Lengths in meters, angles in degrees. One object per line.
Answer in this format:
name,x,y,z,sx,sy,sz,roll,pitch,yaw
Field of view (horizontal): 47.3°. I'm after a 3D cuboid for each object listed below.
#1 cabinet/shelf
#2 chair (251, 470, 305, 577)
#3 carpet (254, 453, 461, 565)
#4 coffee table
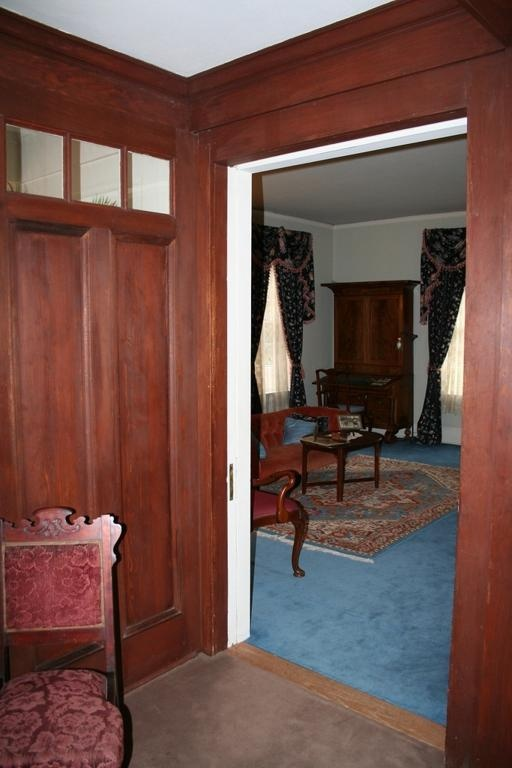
cabinet/shelf,1.782,-0.394,9.138,1.338,2.397,0.781,3,5,23
chair,0.164,0.953,4.124,0.398,0.801,0.632,2,4,0
carpet,1.127,1.168,6.358,1.976,0.031,3.497,0,3,34
coffee table,0.926,0.851,6.174,0.636,0.643,1.059,5,8,43
